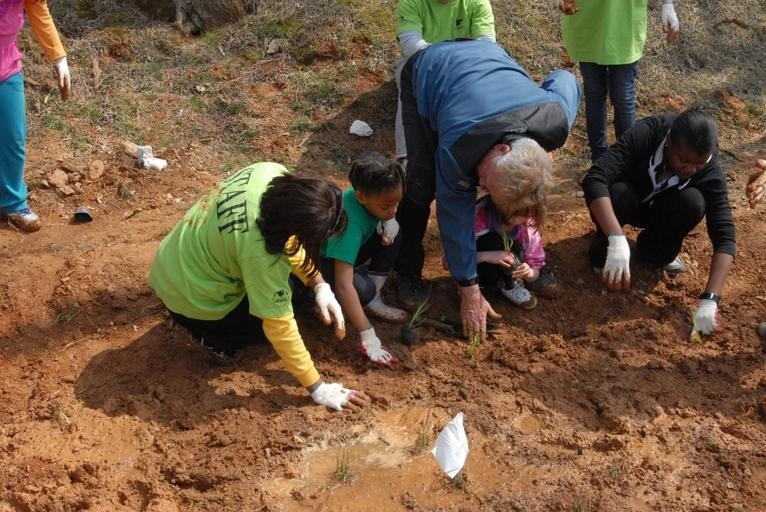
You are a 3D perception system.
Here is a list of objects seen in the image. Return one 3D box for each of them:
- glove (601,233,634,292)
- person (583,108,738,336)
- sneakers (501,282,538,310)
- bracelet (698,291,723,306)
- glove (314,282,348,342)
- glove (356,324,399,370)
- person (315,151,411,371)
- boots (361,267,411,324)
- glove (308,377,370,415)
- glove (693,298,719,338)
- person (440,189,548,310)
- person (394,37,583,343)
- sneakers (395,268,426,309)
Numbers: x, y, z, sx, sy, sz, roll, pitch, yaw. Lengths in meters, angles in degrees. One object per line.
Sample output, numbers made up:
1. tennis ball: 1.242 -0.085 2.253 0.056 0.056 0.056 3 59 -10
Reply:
1. glove: 1.934 0.073 5.437 0.177 0.433 0.265 2 -4 -42
2. person: 2.315 -0.342 5.608 1.170 1.696 1.062 2 36 17
3. sneakers: 1.204 0.349 5.897 0.169 0.146 0.341 -44 71 -3
4. bracelet: 2.714 0.354 5.480 0.137 0.050 0.117 10 0 -27
5. glove: -0.418 0.419 5.077 0.135 0.280 0.466 -41 56 17
6. glove: -0.061 0.749 5.389 0.210 0.383 0.118 -39 0 -21
7. person: -0.128 -0.009 5.409 0.905 1.623 1.249 -1 39 -10
8. boots: 0.030 0.360 5.746 0.466 0.435 0.209 11 13 32
9. glove: -0.328 1.055 4.999 0.373 0.106 0.227 14 44 2
10. glove: 2.650 0.507 5.457 0.080 0.283 0.220 4 -2 -40
11. person: 1.074 -0.149 5.760 0.622 1.096 0.745 -20 32 -30
12. person: 0.864 -0.502 5.358 1.203 2.134 1.262 -19 35 -12
13. sneakers: 0.236 0.316 5.894 0.190 0.361 0.143 -15 -13 -23
